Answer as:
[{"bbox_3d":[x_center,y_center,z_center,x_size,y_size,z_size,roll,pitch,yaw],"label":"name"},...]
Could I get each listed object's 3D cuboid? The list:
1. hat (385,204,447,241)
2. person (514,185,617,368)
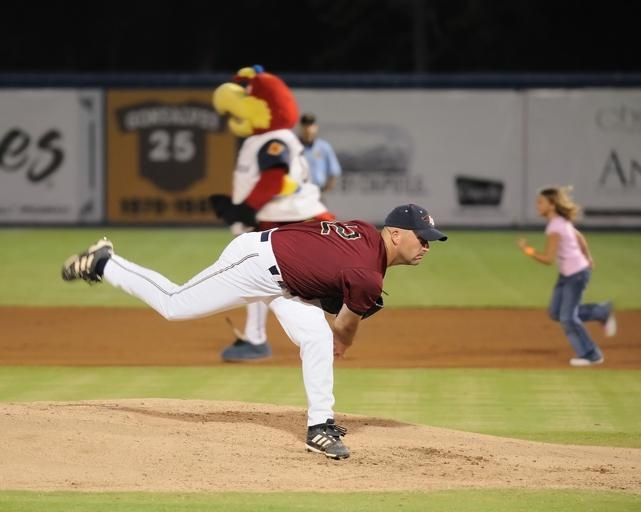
[{"bbox_3d":[0.913,-0.317,12.267,0.538,0.254,0.317,7,8,7],"label":"hat"},{"bbox_3d":[2.707,0.248,14.020,0.760,1.507,0.803,-9,3,13],"label":"person"}]
